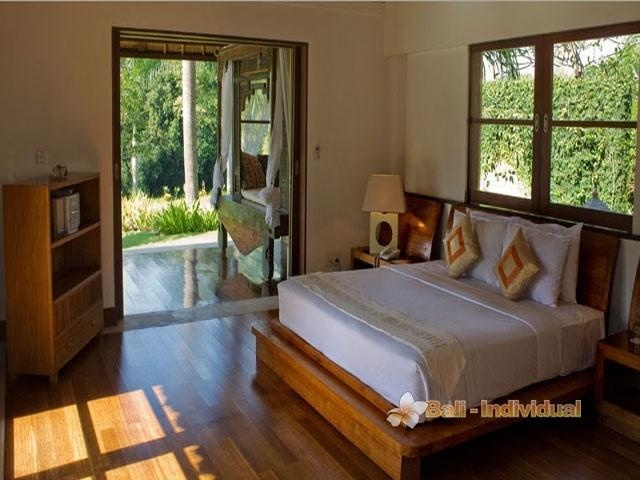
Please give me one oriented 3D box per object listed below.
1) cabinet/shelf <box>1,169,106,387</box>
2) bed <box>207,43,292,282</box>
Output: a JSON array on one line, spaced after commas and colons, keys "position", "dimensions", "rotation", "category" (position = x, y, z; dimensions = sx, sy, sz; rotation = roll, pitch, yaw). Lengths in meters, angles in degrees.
[{"position": [-2.239, 0.258, 3.993], "dimensions": [0.436, 1.554, 0.956], "rotation": [0, 13, -2], "category": "cabinet/shelf"}, {"position": [-0.949, -1.059, 6.529], "dimensions": [0.938, 3.193, 3.034], "rotation": [-2, 8, -21], "category": "bed"}]
